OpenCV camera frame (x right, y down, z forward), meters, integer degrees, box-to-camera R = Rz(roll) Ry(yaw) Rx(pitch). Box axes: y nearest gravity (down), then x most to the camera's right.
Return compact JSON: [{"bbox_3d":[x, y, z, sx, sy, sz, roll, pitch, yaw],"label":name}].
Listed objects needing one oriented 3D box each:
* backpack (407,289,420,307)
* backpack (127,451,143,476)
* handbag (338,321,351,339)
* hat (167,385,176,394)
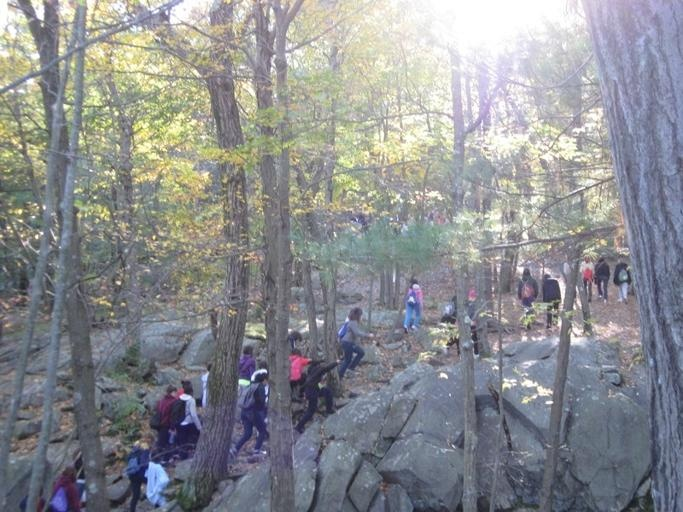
[{"bbox_3d":[2.488,1.447,18.763,0.502,0.888,0.427,-1,1,-1],"label":"backpack"},{"bbox_3d":[-4.450,4.477,11.570,0.300,0.474,0.494,-7,-35,-12],"label":"backpack"},{"bbox_3d":[0.127,2.081,15.389,0.163,0.515,0.345,26,-28,-21],"label":"handbag"},{"bbox_3d":[-4.085,3.237,12.955,0.132,0.185,0.172,11,10,12],"label":"hat"}]
